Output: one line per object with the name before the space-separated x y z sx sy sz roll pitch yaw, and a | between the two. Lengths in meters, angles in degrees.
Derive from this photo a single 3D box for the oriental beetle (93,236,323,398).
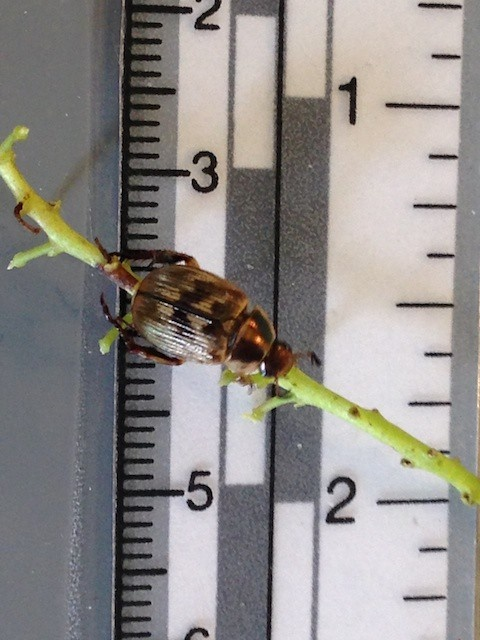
oriental beetle | -0.079 0.026 1.263 0.292 0.167 0.079 27 -77 -18
